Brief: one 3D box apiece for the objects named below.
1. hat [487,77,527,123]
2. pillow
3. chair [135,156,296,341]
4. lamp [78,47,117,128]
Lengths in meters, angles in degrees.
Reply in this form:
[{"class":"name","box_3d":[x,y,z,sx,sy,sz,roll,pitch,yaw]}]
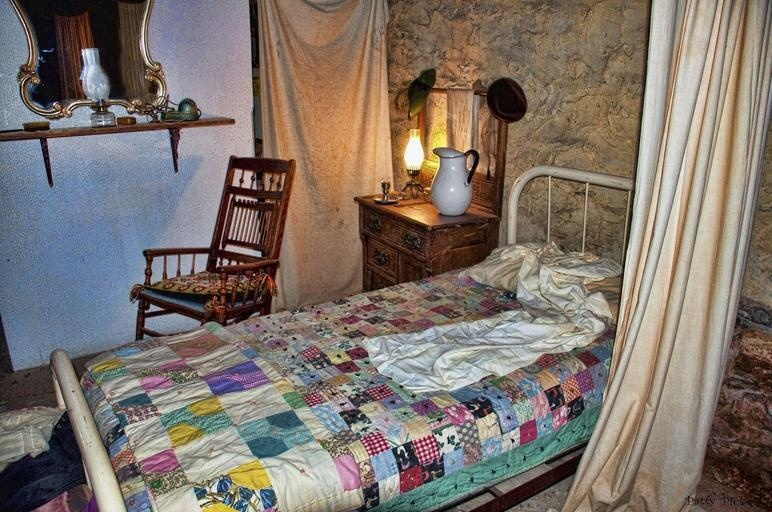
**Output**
[{"class":"hat","box_3d":[0.830,-1.067,3.615,0.259,0.284,0.108,2,14,14]},{"class":"pillow","box_3d":[0.922,0.109,3.073,0.457,0.173,0.614,-20,29,-25]},{"class":"chair","box_3d":[-1.198,0.050,3.536,1.052,1.313,1.021,4,13,-3]},{"class":"lamp","box_3d":[-1.830,-1.063,3.335,0.168,0.492,0.275,-9,16,-28]}]
